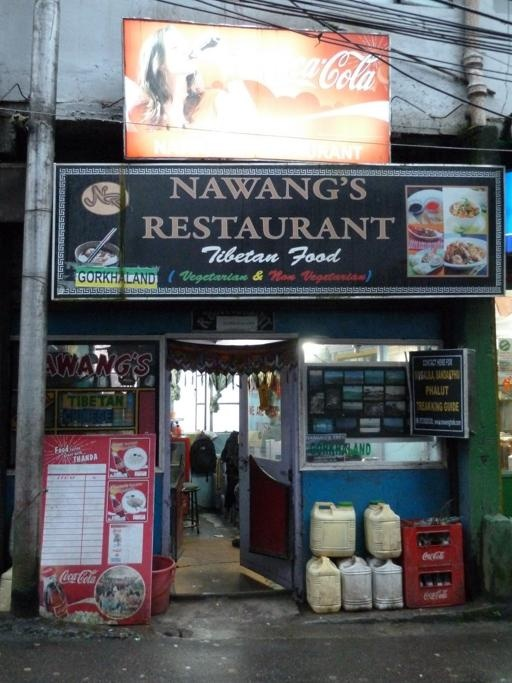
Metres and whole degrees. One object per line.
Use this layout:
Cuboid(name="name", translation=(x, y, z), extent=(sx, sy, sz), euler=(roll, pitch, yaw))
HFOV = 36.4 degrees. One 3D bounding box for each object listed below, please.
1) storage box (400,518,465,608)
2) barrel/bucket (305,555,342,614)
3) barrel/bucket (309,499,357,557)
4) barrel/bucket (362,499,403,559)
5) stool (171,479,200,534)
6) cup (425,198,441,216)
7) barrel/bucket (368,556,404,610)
Cuboid(name="storage box", translation=(1.745, 2.197, 7.920), extent=(0.655, 0.807, 0.670), euler=(-4, 4, -11))
Cuboid(name="barrel/bucket", translation=(0.638, 2.371, 7.659), extent=(0.286, 0.496, 0.498), euler=(1, -5, -11))
Cuboid(name="barrel/bucket", translation=(0.743, 1.872, 7.790), extent=(0.455, 0.502, 0.300), euler=(3, 0, -11))
Cuboid(name="barrel/bucket", translation=(1.242, 1.893, 7.748), extent=(0.402, 0.552, 0.271), euler=(0, -3, 23))
Cuboid(name="stool", translation=(-0.966, 2.281, 10.572), extent=(0.443, 0.624, 0.455), euler=(4, -5, 15))
Cuboid(name="cup", translation=(1.722, -1.311, 7.572), extent=(0.140, 0.109, 0.146), euler=(0, 1, 0))
Cuboid(name="barrel/bucket", translation=(1.241, 2.369, 7.742), extent=(0.291, 0.485, 0.520), euler=(0, -6, -15))
